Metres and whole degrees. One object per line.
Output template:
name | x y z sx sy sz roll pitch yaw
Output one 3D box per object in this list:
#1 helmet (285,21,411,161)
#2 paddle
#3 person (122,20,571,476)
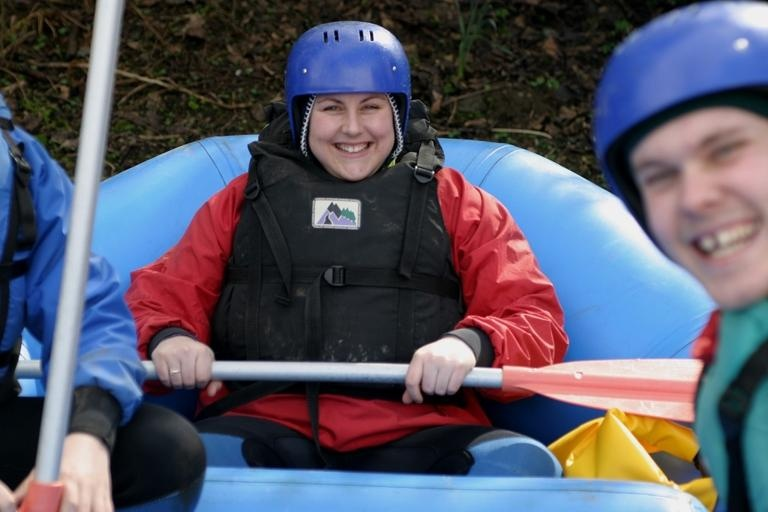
helmet | -0.104 -0.441 2.603 0.290 0.367 0.373 0 -4 -4
paddle | -0.060 0.300 2.053 1.150 0.147 0.210 2 -2 3
person | -0.116 0.071 2.387 1.027 1.393 0.934 1 1 -15
